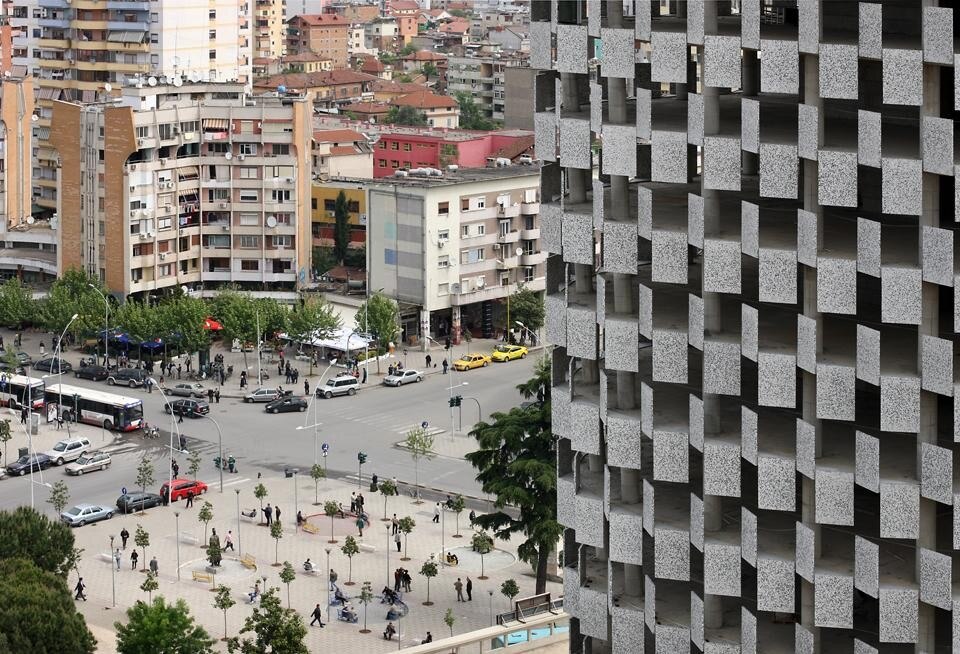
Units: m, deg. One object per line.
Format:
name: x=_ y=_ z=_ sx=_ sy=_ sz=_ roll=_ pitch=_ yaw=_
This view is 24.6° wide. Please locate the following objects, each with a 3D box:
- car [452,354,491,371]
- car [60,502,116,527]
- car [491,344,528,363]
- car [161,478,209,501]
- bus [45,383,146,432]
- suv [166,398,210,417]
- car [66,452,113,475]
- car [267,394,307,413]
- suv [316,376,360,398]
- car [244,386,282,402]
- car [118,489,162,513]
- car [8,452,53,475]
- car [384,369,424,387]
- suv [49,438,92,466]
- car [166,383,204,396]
car: x=-0.831 y=3.002 z=185.538 sx=2.954 sy=0.857 sz=1.290 roll=-6 pitch=9 yaw=-41
car: x=-26.370 y=12.555 z=148.034 sx=2.968 sy=0.873 sz=1.356 roll=-12 pitch=24 yaw=-32
car: x=2.475 y=2.311 z=189.045 sx=2.727 sy=0.964 sz=1.452 roll=-2 pitch=6 yaw=-41
car: x=-20.396 y=11.138 z=152.215 sx=2.881 sy=0.936 sz=1.335 roll=-13 pitch=23 yaw=-32
bus: x=-29.589 y=6.204 z=169.043 sx=8.867 sy=2.260 sz=2.172 roll=9 pitch=16 yaw=33
suv: x=-22.643 y=6.178 z=170.077 sx=2.829 sy=1.026 sz=1.464 roll=12 pitch=12 yaw=16
car: x=-27.909 y=9.790 z=157.867 sx=2.930 sy=0.905 sz=1.325 roll=-9 pitch=22 yaw=-37
car: x=-15.063 y=6.012 z=172.030 sx=2.401 sy=0.924 sz=1.362 roll=2 pitch=4 yaw=-6
suv: x=-11.514 y=4.804 z=176.963 sx=2.892 sy=1.107 sz=1.519 roll=-2 pitch=4 yaw=-30
car: x=-17.125 y=5.356 z=174.382 sx=2.633 sy=0.790 sz=1.239 roll=0 pitch=13 yaw=-4
car: x=-23.308 y=11.887 z=150.640 sx=2.415 sy=0.957 sz=1.424 roll=-10 pitch=20 yaw=-31
car: x=-32.148 y=9.819 z=157.607 sx=2.597 sy=0.992 sz=1.379 roll=-2 pitch=10 yaw=-30
car: x=-6.214 y=4.281 z=180.727 sx=2.870 sy=0.857 sz=1.287 roll=-6 pitch=16 yaw=-37
suv: x=-29.963 y=8.988 z=159.992 sx=1.421 sy=1.081 sz=2.838 roll=20 pitch=22 yaw=36
car: x=-23.377 y=5.000 z=174.862 sx=2.684 sy=0.714 sz=1.239 roll=7 pitch=12 yaw=18
